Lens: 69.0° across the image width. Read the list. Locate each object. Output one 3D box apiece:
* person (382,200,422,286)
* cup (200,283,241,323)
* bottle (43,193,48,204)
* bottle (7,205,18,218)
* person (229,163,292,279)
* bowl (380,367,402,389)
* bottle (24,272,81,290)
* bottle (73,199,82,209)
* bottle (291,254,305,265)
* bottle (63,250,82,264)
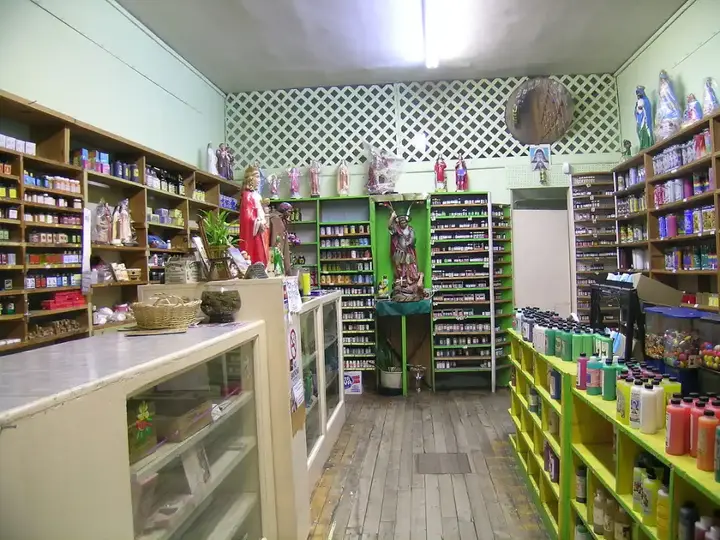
[{"bbox_3d":[0.552,-0.251,6.339,0.382,0.948,0.494,-1,4,4],"label":"person"},{"bbox_3d":[-0.814,0.185,3.073,0.200,0.222,0.204,0,-2,0],"label":"cup"},{"bbox_3d":[-2.231,-0.513,3.730,0.041,0.078,0.068,-4,5,-32],"label":"bottle"},{"bbox_3d":[-2.341,-0.393,3.524,0.063,0.087,0.062,-2,5,0],"label":"bottle"},{"bbox_3d":[-0.751,-0.372,4.008,0.327,0.902,1.062,-2,5,-4],"label":"person"},{"bbox_3d":[0.363,1.255,6.106,0.186,0.159,0.194,1,-3,0],"label":"bowl"},{"bbox_3d":[-2.215,0.075,3.785,0.122,0.127,0.450,-1,5,13],"label":"bottle"},{"bbox_3d":[-2.120,-0.502,3.938,0.063,0.087,0.076,-5,6,-37],"label":"bottle"},{"bbox_3d":[-0.769,-0.138,6.542,0.134,0.155,0.106,1,3,10],"label":"bottle"},{"bbox_3d":[-2.160,-0.101,3.923,0.071,0.100,0.147,2,6,41],"label":"bottle"}]
